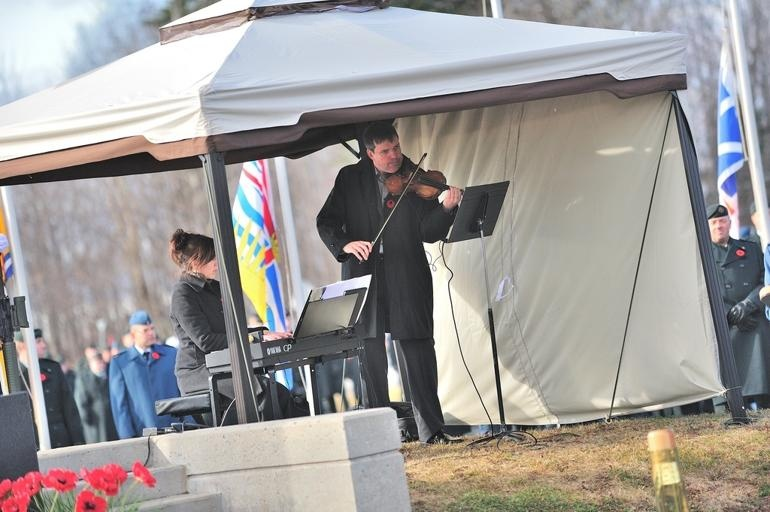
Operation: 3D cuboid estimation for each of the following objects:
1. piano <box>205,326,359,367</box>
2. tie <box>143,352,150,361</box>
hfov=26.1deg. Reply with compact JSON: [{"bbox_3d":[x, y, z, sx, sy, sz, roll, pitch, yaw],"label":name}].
[{"bbox_3d":[-1.271,1.236,21.264,1.932,0.371,0.342,-7,-5,-11],"label":"piano"},{"bbox_3d":[-3.506,1.468,24.430,0.098,0.094,0.023,9,-13,0],"label":"tie"}]
